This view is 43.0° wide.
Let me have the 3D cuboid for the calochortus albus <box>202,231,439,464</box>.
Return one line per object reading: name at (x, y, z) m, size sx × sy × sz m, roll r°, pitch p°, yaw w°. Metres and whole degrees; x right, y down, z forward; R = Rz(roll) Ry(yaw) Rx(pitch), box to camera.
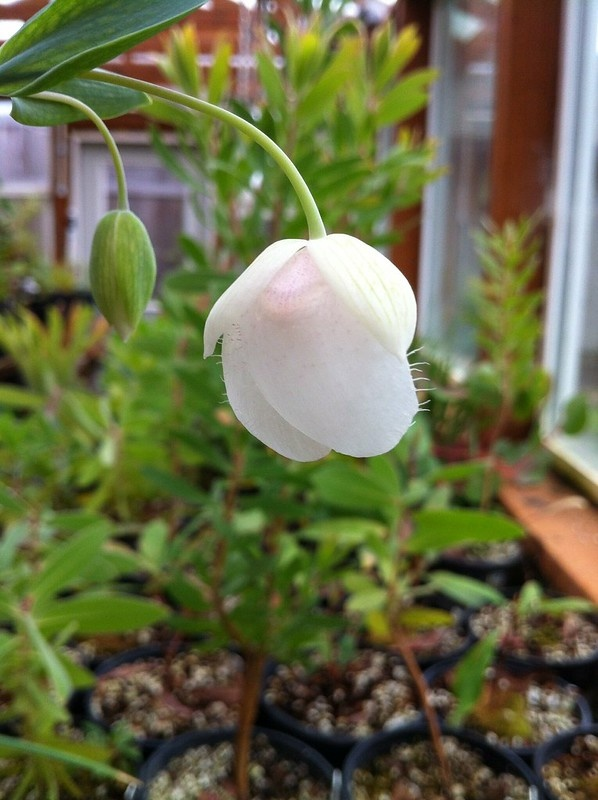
calochortus albus at (0.009, -0.026, 0.350) m, size 0.108 × 0.090 × 0.083 m, roll 8°, pitch 19°, yaw 33°
